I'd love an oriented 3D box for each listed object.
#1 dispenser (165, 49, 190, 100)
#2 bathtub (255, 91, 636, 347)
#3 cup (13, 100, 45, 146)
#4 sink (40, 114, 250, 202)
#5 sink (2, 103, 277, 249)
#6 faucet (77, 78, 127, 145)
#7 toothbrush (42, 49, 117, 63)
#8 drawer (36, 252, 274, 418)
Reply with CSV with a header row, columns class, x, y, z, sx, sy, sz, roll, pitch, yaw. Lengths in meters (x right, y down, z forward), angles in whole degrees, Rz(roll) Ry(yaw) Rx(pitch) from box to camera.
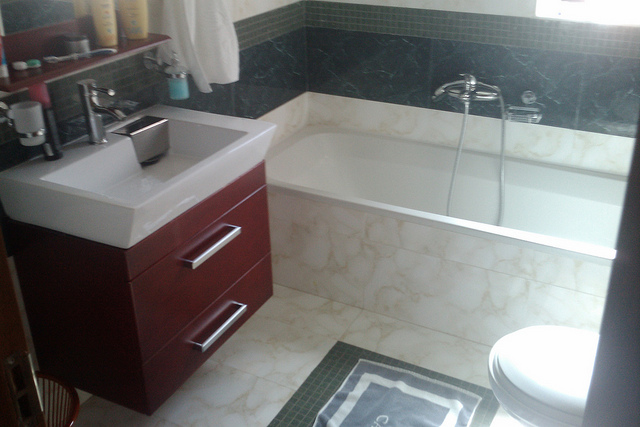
class,x,y,z,sx,sy,sz,roll,pitch,yaw
dispenser,-0.626,-0.613,2.147,0.106,0.211,0.094,-15,37,-27
bathtub,0.606,-0.031,2.739,1.903,0.919,0.998,16,34,19
cup,-0.950,-0.311,1.615,0.073,0.130,0.131,3,32,-2
sink,-0.717,-0.237,1.953,0.765,0.171,0.361,-19,38,-31
sink,-0.712,-0.139,1.785,0.562,0.183,0.824,17,31,18
faucet,-0.807,-0.374,1.830,0.180,0.229,0.066,16,33,20
toothbrush,-0.870,-0.561,1.731,0.186,0.022,0.043,-14,33,-26
drawer,-0.692,0.538,1.951,0.608,0.292,0.926,7,21,18
